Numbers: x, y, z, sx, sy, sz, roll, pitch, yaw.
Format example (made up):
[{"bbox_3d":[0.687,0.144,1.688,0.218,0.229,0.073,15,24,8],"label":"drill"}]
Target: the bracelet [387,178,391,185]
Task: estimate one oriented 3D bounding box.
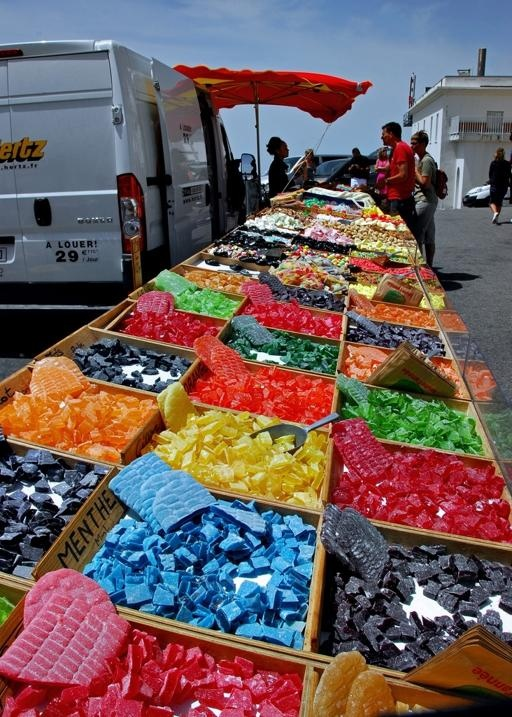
[{"bbox_3d":[1.831,-2.474,7.055,0.033,0.071,0.089,-4,5,-10],"label":"bracelet"}]
